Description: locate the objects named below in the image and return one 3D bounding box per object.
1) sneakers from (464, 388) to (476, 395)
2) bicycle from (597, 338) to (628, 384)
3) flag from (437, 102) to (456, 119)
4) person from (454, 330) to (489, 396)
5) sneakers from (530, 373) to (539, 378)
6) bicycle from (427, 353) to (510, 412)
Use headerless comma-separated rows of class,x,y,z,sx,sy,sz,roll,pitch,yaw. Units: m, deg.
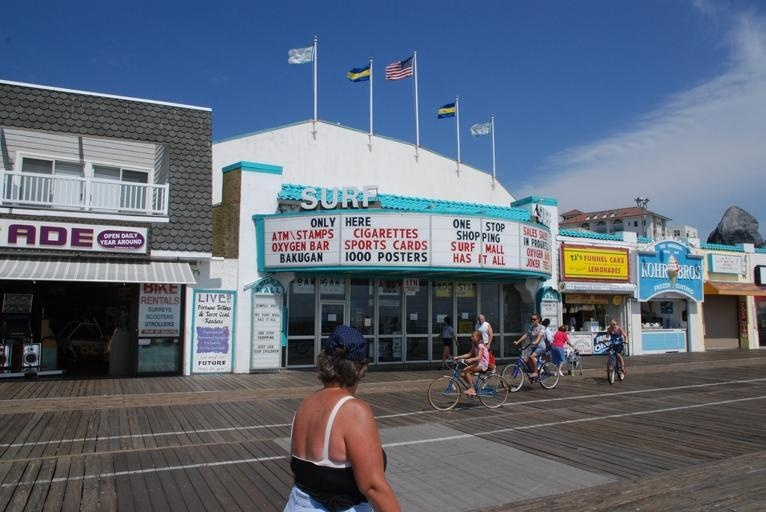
sneakers,2.467,3.858,17.712,0.254,0.160,0.160,15,-16,-18
bicycle,8.201,3.729,22.313,0.604,1.531,1.604,-4,-8,19
flag,3.454,-7.689,33.067,0.921,1.031,1.135,-2,-8,1
person,2.652,3.112,18.067,0.857,1.839,1.444,-3,-7,9
sneakers,4.977,3.952,20.709,0.205,0.134,0.197,10,-5,-26
bicycle,2.547,3.882,18.575,2.484,1.638,1.291,1,-10,-4
